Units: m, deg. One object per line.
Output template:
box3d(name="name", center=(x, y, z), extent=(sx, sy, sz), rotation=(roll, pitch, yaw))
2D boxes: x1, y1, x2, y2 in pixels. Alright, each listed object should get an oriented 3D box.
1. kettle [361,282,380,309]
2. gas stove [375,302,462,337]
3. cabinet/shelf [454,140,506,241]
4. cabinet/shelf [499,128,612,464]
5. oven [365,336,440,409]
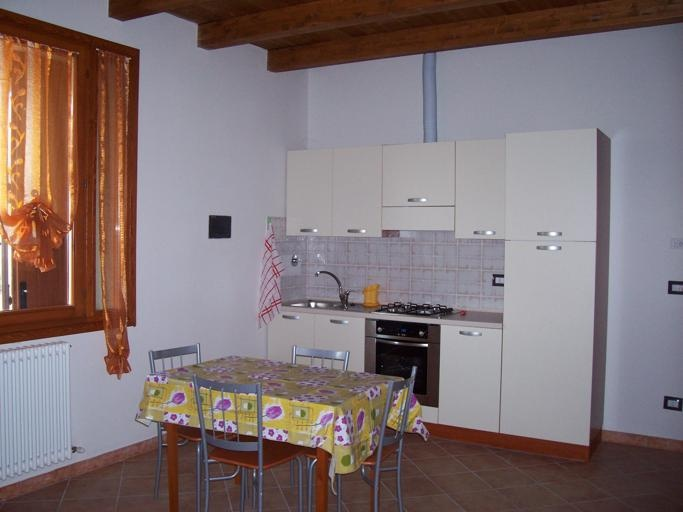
box3d(name="kettle", center=(0.308, 0.434, 5.948), extent=(0.215, 0.227, 0.210), rotation=(2, 1, 4))
box3d(name="gas stove", center=(0.799, 0.623, 5.615), extent=(0.842, 0.233, 0.719), rotation=(3, 7, 15))
box3d(name="cabinet/shelf", center=(1.295, -0.629, 5.273), extent=(0.471, 0.914, 0.144), rotation=(3, 7, 13))
box3d(name="cabinet/shelf", center=(1.786, 0.310, 4.887), extent=(0.814, 2.784, 0.330), rotation=(3, 8, 15))
box3d(name="oven", center=(0.523, 1.140, 5.520), extent=(0.753, 0.674, 0.482), rotation=(6, -20, -6))
